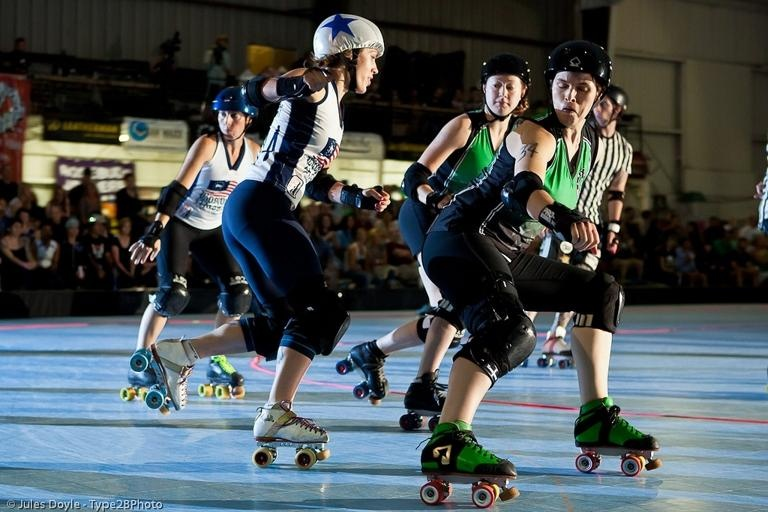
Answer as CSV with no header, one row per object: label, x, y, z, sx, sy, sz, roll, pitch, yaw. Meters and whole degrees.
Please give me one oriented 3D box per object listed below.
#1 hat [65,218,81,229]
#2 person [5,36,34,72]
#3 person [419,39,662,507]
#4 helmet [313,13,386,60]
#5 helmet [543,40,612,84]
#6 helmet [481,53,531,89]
hat,-4.160,-0.458,14.738,0.152,0.128,0.127,-6,-6,35
person,-5.393,-3.004,16.285,0.327,0.543,0.817,-2,8,-16
person,0.919,0.046,7.094,1.466,2.895,0.749,-3,8,-21
helmet,-0.256,-1.508,7.651,0.391,0.328,0.318,-16,11,-11
helmet,1.286,-1.300,7.173,0.296,0.275,0.353,10,22,23
helmet,0.910,-1.338,7.921,0.231,0.222,0.281,8,9,19
